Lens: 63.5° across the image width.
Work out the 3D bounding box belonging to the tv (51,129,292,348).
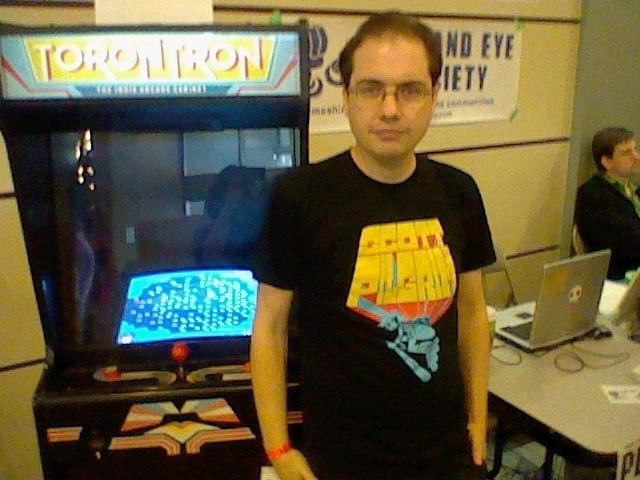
[{"bbox_3d":[-0.493,0.006,1.603,0.755,0.617,0.213,0,-6,-8],"label":"tv"}]

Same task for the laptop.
[{"bbox_3d":[0.966,0.216,2.348,0.557,0.417,0.426,-13,21,-27],"label":"laptop"}]
